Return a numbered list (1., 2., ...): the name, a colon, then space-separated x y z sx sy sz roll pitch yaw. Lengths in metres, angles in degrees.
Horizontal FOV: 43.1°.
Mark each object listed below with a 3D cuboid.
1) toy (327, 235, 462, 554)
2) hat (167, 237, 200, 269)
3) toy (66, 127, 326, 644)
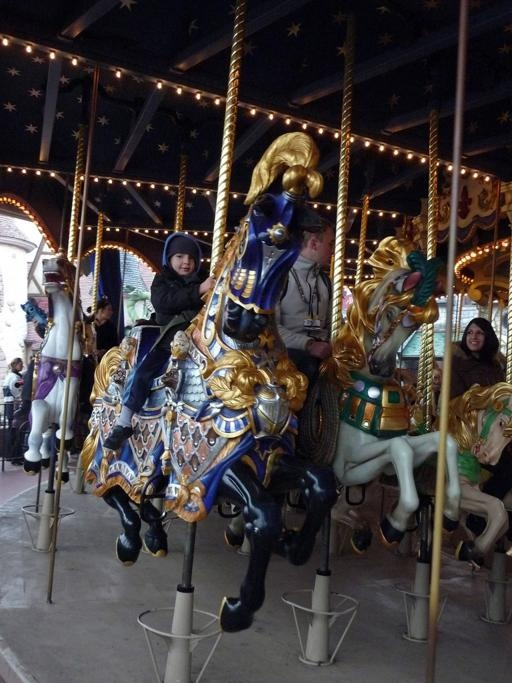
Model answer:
1. toy: 0.654 0.282 3.273 0.430 1.365 0.567 10 -2 -40
2. hat: -0.363 -0.446 3.275 0.139 0.157 0.162 3 0 -9
3. toy: -0.176 0.212 2.733 0.542 1.798 1.479 10 -2 -30
